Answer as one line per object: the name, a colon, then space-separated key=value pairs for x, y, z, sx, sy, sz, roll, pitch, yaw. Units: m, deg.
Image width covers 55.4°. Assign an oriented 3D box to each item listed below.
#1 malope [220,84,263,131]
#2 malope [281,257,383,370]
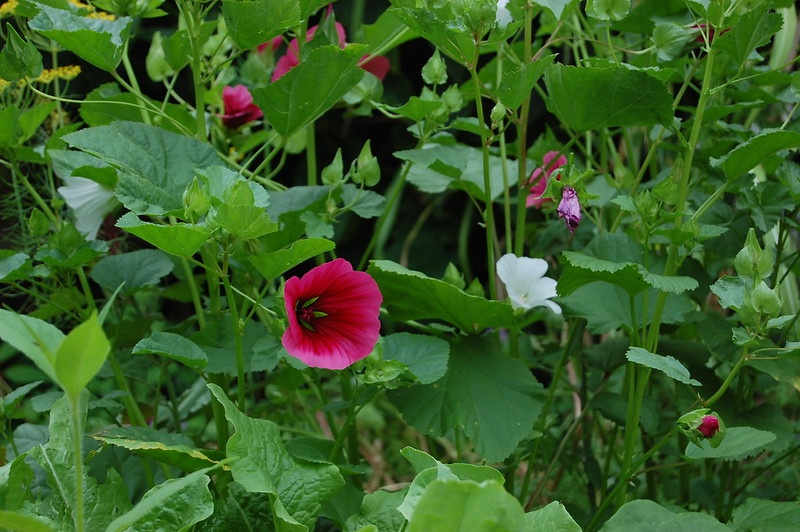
malope: x=-0.333 y=-0.328 z=1.587 sx=0.081 sy=0.089 sz=0.066 roll=6 pitch=26 yaw=1
malope: x=-0.107 y=0.078 z=1.215 sx=0.159 sy=0.151 sz=0.117 roll=1 pitch=27 yaw=-11
